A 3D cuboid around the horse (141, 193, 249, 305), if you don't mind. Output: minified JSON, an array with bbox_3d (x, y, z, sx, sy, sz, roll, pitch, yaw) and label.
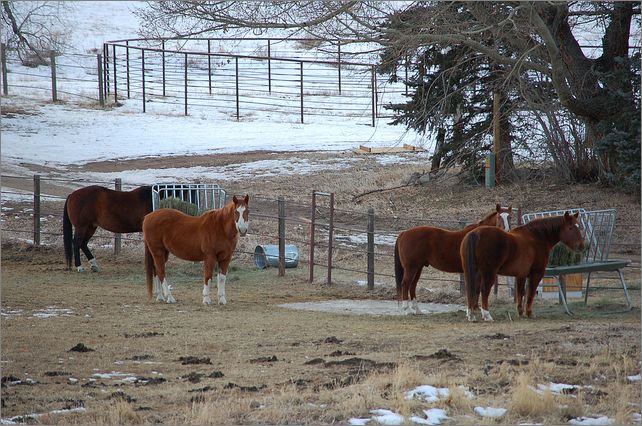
[{"bbox_3d":[-4.662,1.372,49.857,4.914,4.251,1.720,1,3,25],"label":"horse"}]

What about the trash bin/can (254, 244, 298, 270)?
[{"bbox_3d":[-1.910,1.760,53.659,1.848,0.976,0.981,1,2,4],"label":"trash bin/can"}]

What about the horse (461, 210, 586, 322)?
[{"bbox_3d":[7.522,1.955,48.782,4.946,4.097,1.607,1,-1,-24],"label":"horse"}]
